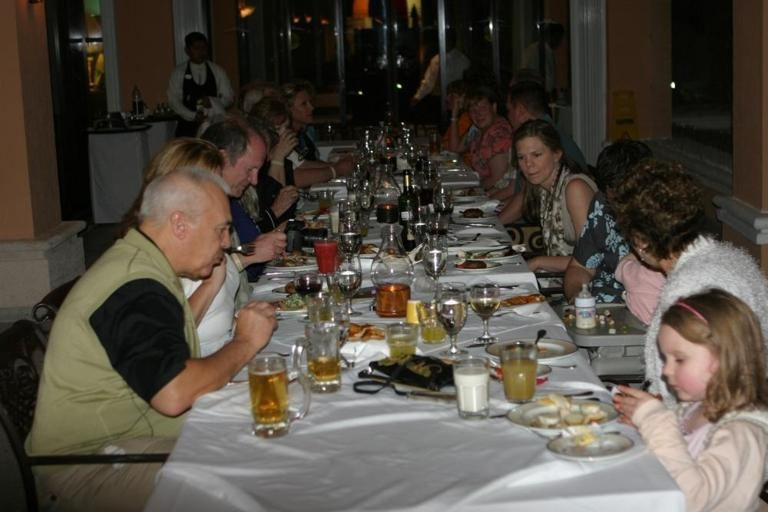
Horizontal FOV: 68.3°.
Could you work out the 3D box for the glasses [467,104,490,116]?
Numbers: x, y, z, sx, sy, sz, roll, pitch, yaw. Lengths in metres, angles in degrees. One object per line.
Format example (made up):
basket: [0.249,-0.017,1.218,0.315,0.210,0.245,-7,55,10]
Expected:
glasses: [1.048,-1.602,6.272,0.210,0.104,0.065,0,5,17]

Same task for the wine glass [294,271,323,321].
wine glass: [-0.323,0.166,2.503,0.119,0.181,0.109,-15,17,-40]

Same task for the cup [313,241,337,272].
cup: [-0.274,-0.002,2.820,0.144,0.156,0.141,1,10,0]

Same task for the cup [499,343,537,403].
cup: [0.399,0.343,1.659,0.117,0.163,0.116,-1,-4,0]

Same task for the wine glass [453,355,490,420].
wine glass: [0.245,0.363,1.648,0.136,0.194,0.134,1,14,6]

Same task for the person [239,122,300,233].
person: [-0.780,-0.517,3.816,0.333,0.332,0.995,-22,13,-6]

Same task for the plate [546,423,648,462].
plate: [0.489,0.453,1.351,0.187,0.030,0.189,-10,-3,19]

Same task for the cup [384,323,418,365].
cup: [0.070,0.307,2.005,0.133,0.118,0.148,-2,0,-23]

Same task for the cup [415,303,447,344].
cup: [0.163,0.256,2.160,0.132,0.145,0.132,3,-1,0]

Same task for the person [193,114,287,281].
person: [-0.707,-0.322,3.090,0.343,0.852,0.512,-7,17,-33]

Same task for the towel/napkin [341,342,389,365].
towel/napkin: [-0.068,0.339,2.013,0.097,0.032,0.096,-5,11,2]

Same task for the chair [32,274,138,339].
chair: [-0.972,0.170,1.846,0.138,0.250,0.188,42,39,12]

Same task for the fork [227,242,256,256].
fork: [-0.653,-0.044,2.617,0.077,0.031,0.132,0,5,10]
